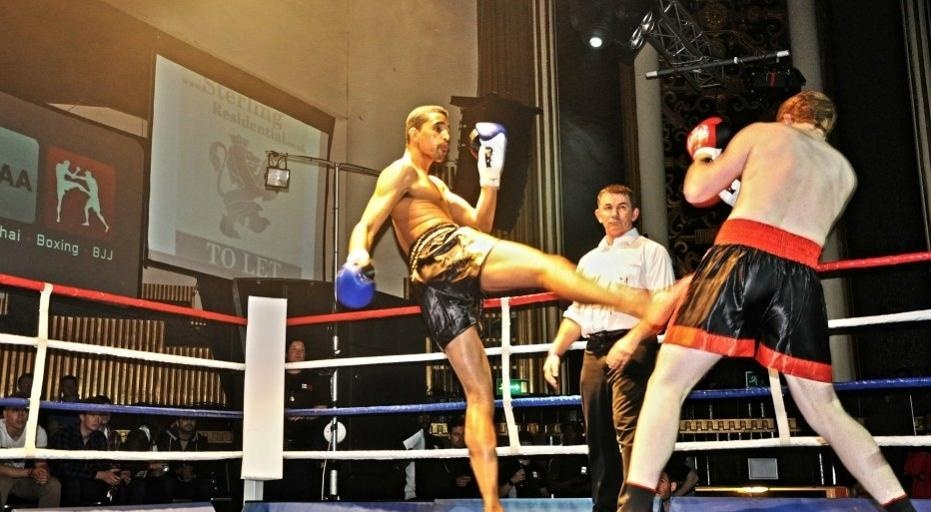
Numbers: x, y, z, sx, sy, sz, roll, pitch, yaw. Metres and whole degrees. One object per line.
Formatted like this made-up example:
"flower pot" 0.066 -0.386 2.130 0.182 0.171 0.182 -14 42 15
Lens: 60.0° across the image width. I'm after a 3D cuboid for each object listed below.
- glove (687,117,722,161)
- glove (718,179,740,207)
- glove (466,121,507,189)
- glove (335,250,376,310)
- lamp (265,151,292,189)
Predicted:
"glove" 1.801 -0.910 6.242 0.344 0.267 0.249 -4 -4 9
"glove" 2.102 -0.504 6.329 0.127 0.110 0.295 -13 18 49
"glove" 0.188 -0.833 6.569 0.229 0.466 0.378 7 3 -29
"glove" -0.876 0.228 6.344 0.282 0.331 0.241 -1 -16 -13
"lamp" -2.415 -1.099 10.312 0.353 0.526 0.505 7 -56 -17
